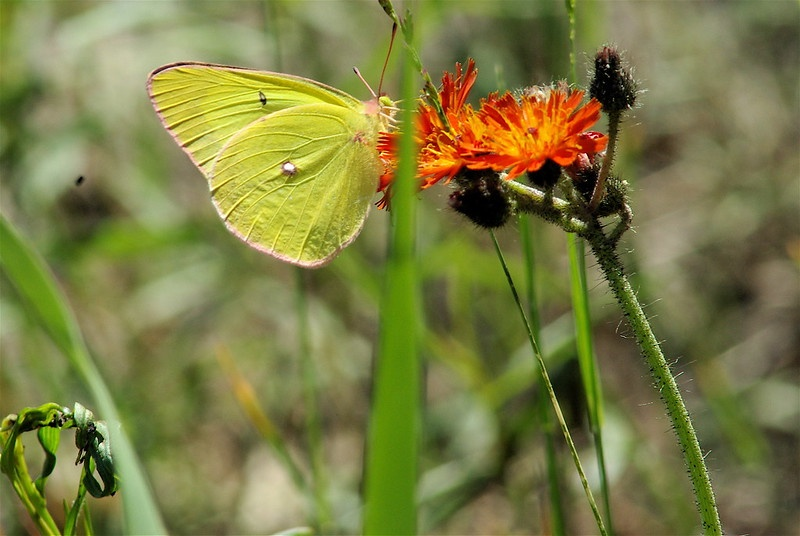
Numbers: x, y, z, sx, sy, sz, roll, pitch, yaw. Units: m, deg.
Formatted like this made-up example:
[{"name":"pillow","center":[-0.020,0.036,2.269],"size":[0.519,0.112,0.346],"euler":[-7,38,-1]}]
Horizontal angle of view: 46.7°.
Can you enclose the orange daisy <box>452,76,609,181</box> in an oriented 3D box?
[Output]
[{"name":"orange daisy","center":[0.642,-0.647,4.391],"size":[0.495,0.240,0.515],"euler":[-18,46,-14]}]
